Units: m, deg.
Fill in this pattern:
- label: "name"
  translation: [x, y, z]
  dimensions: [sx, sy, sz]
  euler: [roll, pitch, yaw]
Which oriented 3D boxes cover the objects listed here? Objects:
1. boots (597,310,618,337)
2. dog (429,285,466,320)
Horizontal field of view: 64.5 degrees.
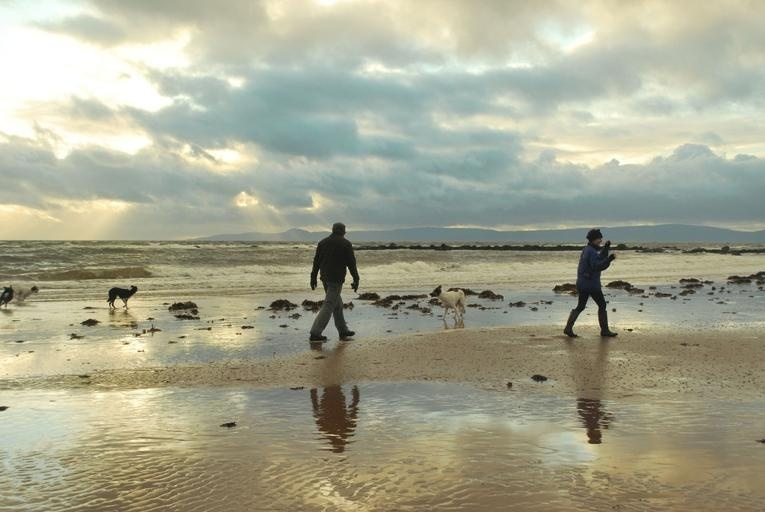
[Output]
- label: "boots"
  translation: [5.846, 1.725, 15.712]
  dimensions: [0.420, 0.697, 0.677]
  euler: [-2, 0, 20]
- label: "dog"
  translation: [2.162, 1.431, 19.491]
  dimensions: [0.435, 0.829, 1.643]
  euler: [-10, -11, 44]
